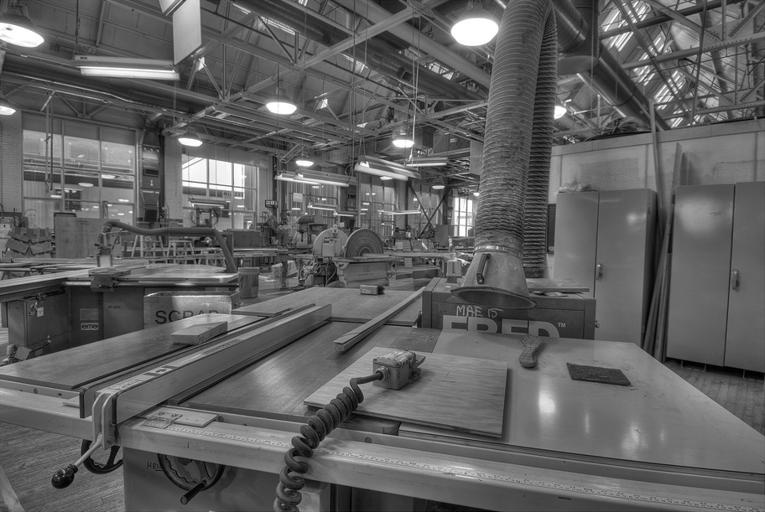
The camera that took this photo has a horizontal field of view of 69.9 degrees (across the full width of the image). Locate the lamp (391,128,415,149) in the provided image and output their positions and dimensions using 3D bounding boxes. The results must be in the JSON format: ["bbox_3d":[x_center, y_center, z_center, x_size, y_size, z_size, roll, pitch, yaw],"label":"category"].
[{"bbox_3d":[0.424,-2.146,10.115,0.463,0.269,0.466,6,12,25],"label":"lamp"}]

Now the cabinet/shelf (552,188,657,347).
[{"bbox_3d":[3.341,0.133,8.322,1.298,2.278,0.434,2,5,31],"label":"cabinet/shelf"}]
